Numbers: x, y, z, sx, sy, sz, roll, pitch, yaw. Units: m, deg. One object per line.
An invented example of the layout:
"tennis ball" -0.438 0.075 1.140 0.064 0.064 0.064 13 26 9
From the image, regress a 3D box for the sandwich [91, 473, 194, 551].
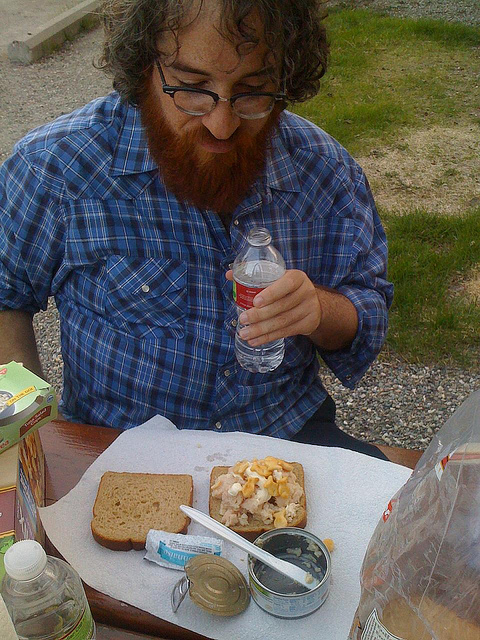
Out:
"sandwich" -0.263 0.494 1.555 0.213 0.046 0.172 6 36 -3

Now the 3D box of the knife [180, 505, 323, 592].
"knife" 0.025 0.530 1.362 0.315 0.014 0.039 27 41 15

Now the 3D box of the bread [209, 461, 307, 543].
"bread" 0.044 0.496 1.611 0.255 0.056 0.176 2 62 1

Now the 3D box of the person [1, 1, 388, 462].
"person" -0.157 -0.282 1.978 1.368 1.410 0.961 -1 37 3

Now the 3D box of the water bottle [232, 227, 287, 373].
"water bottle" 0.071 -0.065 1.998 0.192 0.458 0.172 -5 25 -9
